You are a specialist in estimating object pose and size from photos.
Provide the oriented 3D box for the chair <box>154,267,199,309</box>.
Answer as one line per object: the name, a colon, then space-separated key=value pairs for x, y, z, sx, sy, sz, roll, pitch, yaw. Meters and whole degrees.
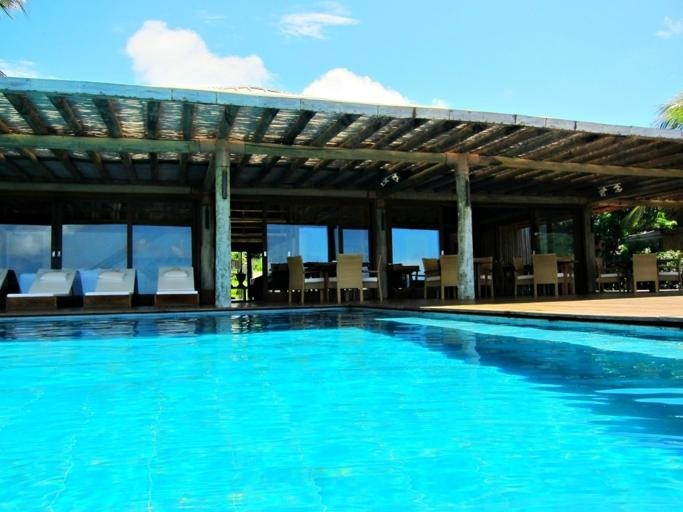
chair: x=-3.355 y=0.551 z=10.758 sx=0.790 sy=0.736 sz=1.261 roll=0 pitch=7 yaw=-23

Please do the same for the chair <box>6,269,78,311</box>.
chair: x=-5.464 y=0.633 z=9.954 sx=0.911 sy=0.509 sz=0.887 roll=0 pitch=-5 yaw=1
